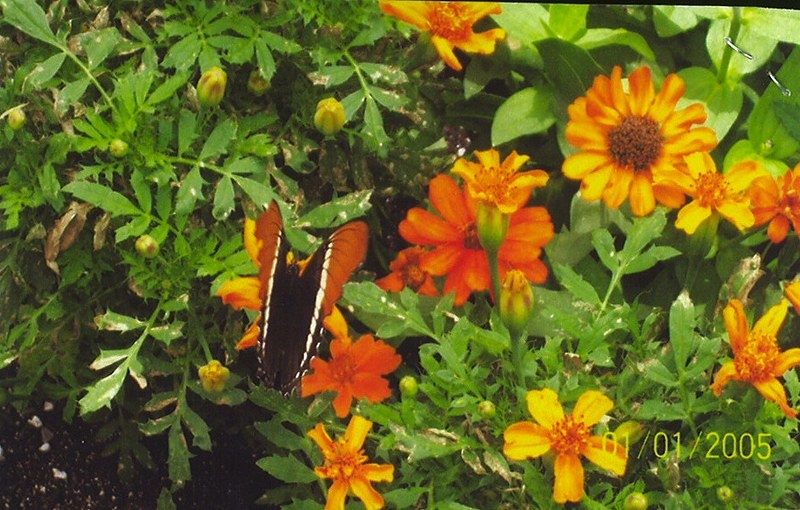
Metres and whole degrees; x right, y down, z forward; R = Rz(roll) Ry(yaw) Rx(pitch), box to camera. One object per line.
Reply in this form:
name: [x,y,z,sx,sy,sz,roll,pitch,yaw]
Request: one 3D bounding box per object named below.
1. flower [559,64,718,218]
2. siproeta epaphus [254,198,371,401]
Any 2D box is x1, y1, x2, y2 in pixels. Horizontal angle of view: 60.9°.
flower: [0.471,-0.248,1.308,0.297,0.112,0.263,37,-10,-7]
siproeta epaphus: [-0.170,0.088,1.355,0.229,0.308,0.109,10,2,10]
